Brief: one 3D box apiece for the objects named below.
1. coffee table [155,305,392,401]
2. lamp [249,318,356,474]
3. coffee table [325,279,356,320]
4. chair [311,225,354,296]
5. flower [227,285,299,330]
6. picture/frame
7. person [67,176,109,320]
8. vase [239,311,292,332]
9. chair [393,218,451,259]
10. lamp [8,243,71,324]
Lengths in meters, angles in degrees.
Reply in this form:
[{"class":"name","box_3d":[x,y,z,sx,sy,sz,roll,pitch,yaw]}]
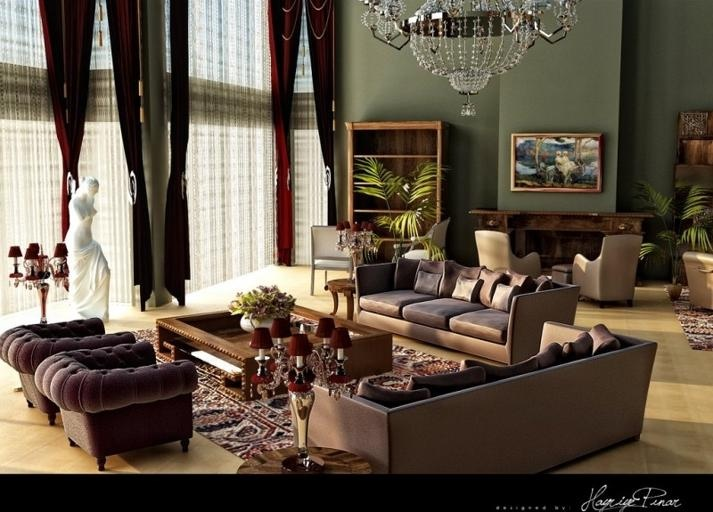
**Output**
[{"class":"coffee table","box_3d":[-1.252,1.003,6.130,1.208,0.402,1.632,-6,9,-39]},{"class":"lamp","box_3d":[-0.400,0.919,3.355,0.603,0.893,0.614,-9,-16,22]},{"class":"coffee table","box_3d":[-0.188,0.706,8.013,0.486,0.424,0.473,1,2,5]},{"class":"chair","box_3d":[-0.370,0.095,9.883,0.777,1.243,0.853,4,2,30]},{"class":"flower","box_3d":[-1.078,0.635,6.039,0.720,0.520,0.675,1,7,-11]},{"class":"picture/frame","box_3d":[3.955,-1.824,10.084,1.127,0.804,0.053,1,2,13]},{"class":"person","box_3d":[-3.810,-0.090,7.406,0.613,2.018,0.655,4,-7,-23]},{"class":"vase","box_3d":[-0.893,0.633,5.103,0.400,0.187,0.411,0,0,12]},{"class":"chair","box_3d":[1.252,-0.124,10.019,0.807,1.026,0.756,-1,0,-6]},{"class":"lamp","box_3d":[-3.768,0.307,6.141,0.558,0.929,1.718,5,-8,-33]}]
